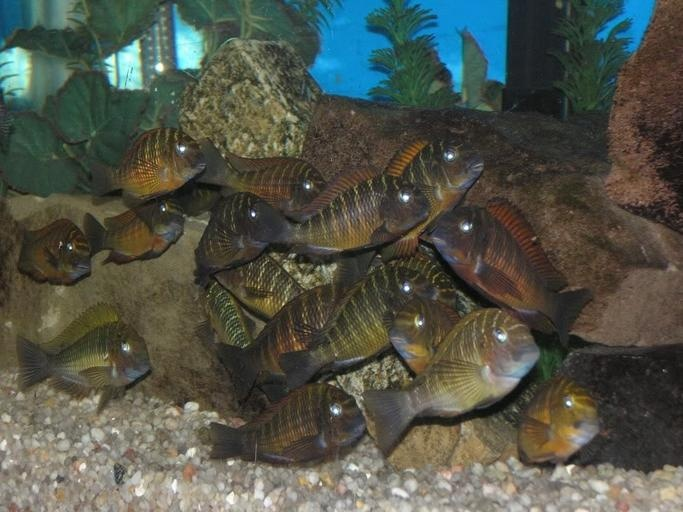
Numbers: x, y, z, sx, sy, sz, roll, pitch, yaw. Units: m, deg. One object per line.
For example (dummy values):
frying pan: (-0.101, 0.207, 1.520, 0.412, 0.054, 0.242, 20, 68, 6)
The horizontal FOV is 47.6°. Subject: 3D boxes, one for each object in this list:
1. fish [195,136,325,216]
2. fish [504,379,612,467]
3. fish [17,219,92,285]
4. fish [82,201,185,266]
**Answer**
fish: (-0.539, -0.506, 5.440, 1.022, 0.439, 0.187, 8, 19, -34)
fish: (1.352, 1.060, 4.909, 0.364, 0.579, 0.425, 21, 55, -37)
fish: (-2.178, -0.061, 5.821, 0.707, 0.433, 0.157, 8, 2, 14)
fish: (-1.494, -0.173, 5.604, 0.732, 0.234, 0.479, -13, 72, 0)
